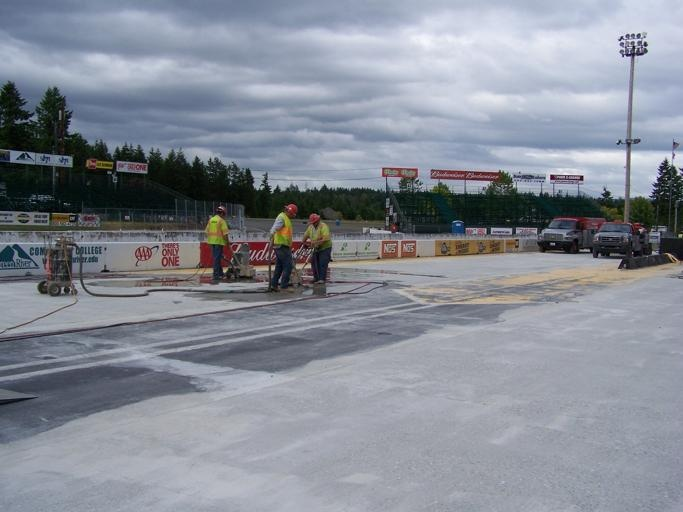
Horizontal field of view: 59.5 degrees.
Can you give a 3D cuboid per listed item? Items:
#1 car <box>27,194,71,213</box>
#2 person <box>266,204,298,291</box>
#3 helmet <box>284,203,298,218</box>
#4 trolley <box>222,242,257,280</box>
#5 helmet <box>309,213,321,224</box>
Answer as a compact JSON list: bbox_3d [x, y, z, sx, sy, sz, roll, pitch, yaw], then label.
[{"bbox_3d":[-32.697,-5.445,66.248,3.760,0.982,2.670,11,12,24],"label":"car"},{"bbox_3d":[-1.679,-0.240,16.743,0.638,2.398,0.875,1,5,2],"label":"person"},{"bbox_3d":[-1.357,-1.328,17.047,0.471,0.376,0.319,11,36,-15],"label":"helmet"},{"bbox_3d":[-3.346,0.092,19.909,0.976,1.118,0.779,-2,4,-7],"label":"trolley"},{"bbox_3d":[-0.818,-1.156,17.737,0.211,0.250,0.338,23,-41,-36],"label":"helmet"}]
